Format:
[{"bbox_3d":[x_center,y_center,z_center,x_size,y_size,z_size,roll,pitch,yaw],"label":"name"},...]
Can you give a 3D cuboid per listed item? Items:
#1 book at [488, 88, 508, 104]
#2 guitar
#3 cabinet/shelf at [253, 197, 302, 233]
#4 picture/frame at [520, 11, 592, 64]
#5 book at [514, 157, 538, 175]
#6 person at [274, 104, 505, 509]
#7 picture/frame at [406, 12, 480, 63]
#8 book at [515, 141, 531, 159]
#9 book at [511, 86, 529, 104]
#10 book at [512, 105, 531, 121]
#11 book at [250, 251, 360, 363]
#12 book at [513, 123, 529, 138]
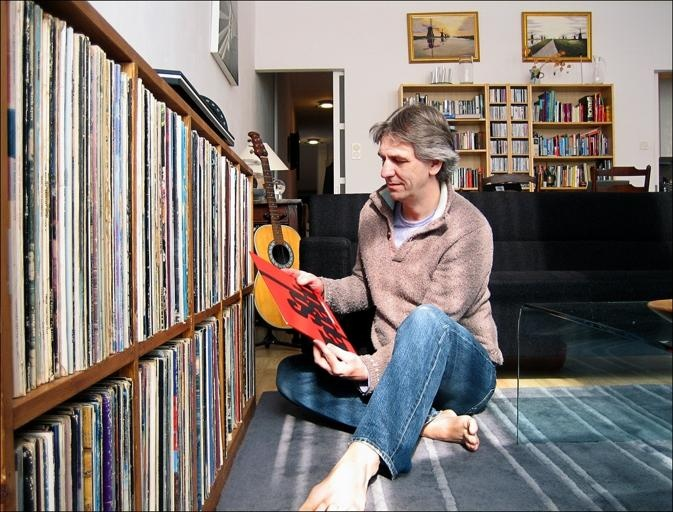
[{"bbox_3d":[1.455,-1.444,5.455,0.151,0.146,0.072,2,14,12],"label":"book"},{"bbox_3d":[-0.360,-0.127,3.286,0.410,1.015,0.146,-1,-12,-37],"label":"guitar"},{"bbox_3d":[-0.338,-0.234,3.453,0.184,0.246,0.266,1,1,34],"label":"cabinet/shelf"},{"bbox_3d":[1.990,-1.982,5.549,0.523,0.360,0.019,0,-1,0],"label":"picture/frame"},{"bbox_3d":[1.700,-0.823,5.507,0.199,0.150,0.097,0,13,5],"label":"book"},{"bbox_3d":[0.020,0.073,1.918,0.996,0.977,0.760,-4,6,-40],"label":"person"},{"bbox_3d":[0.978,-1.982,5.519,0.493,0.343,0.021,0,1,3],"label":"picture/frame"},{"bbox_3d":[1.669,-0.979,5.491,0.142,0.129,0.065,3,14,15],"label":"book"},{"bbox_3d":[1.647,-1.445,5.460,0.141,0.147,0.060,2,14,14],"label":"book"},{"bbox_3d":[1.648,-1.285,5.458,0.141,0.123,0.056,-1,13,-1],"label":"book"},{"bbox_3d":[-0.108,0.174,2.072,0.501,0.038,0.478,43,4,-39],"label":"book"},{"bbox_3d":[1.665,-1.137,5.488,0.136,0.123,0.051,1,13,7],"label":"book"}]
